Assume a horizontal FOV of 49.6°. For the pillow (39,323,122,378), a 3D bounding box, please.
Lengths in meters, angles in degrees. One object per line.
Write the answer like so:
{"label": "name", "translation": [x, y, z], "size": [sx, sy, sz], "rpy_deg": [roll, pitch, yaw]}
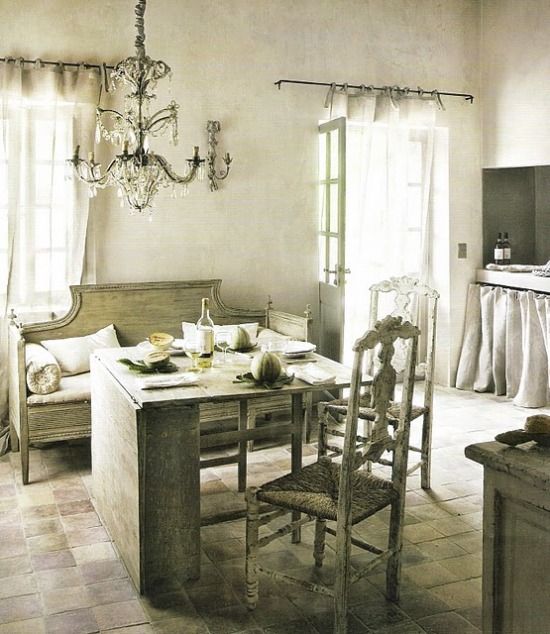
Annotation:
{"label": "pillow", "translation": [-1.120, 0.191, 3.362], "size": [0.283, 0.170, 0.086], "rpy_deg": [-22, -14, -43]}

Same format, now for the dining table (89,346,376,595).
{"label": "dining table", "translation": [-0.198, 0.481, 2.391], "size": [0.890, 0.555, 0.838], "rpy_deg": [-3, 11, -21]}

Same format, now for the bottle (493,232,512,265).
{"label": "bottle", "translation": [1.907, -0.582, 5.018], "size": [0.141, 0.267, 0.301], "rpy_deg": [2, 7, 22]}

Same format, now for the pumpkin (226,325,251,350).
{"label": "pumpkin", "translation": [-0.174, 0.103, 2.929], "size": [0.108, 0.142, 0.106], "rpy_deg": [1, 2, 8]}

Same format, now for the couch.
{"label": "couch", "translation": [-0.653, 0.340, 3.003], "size": [1.138, 0.694, 0.359], "rpy_deg": [-2, 2, -27]}

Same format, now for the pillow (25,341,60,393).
{"label": "pillow", "translation": [-1.296, 0.294, 3.324], "size": [0.171, 0.202, 0.382], "rpy_deg": [-3, 7, -22]}

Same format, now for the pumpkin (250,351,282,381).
{"label": "pumpkin", "translation": [-0.031, 0.181, 2.238], "size": [0.103, 0.122, 0.107], "rpy_deg": [1, 1, 5]}
